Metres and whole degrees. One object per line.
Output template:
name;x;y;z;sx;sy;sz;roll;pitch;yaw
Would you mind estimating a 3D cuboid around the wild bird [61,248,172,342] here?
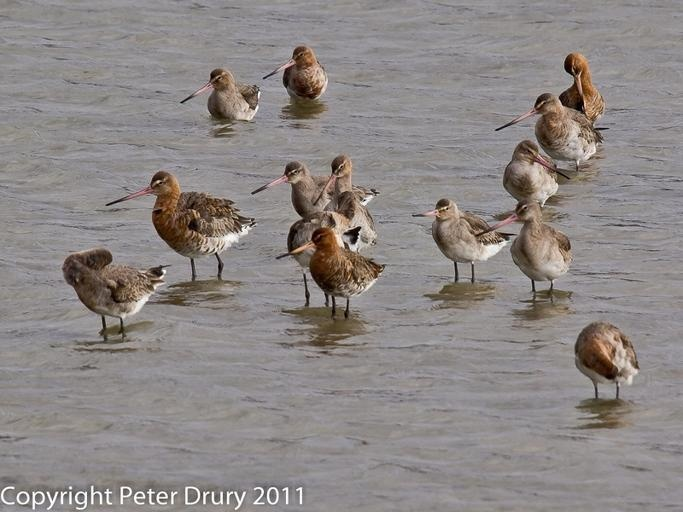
wild bird;-3.033;0.416;10.400;0.932;1.872;0.904;9;94;19
